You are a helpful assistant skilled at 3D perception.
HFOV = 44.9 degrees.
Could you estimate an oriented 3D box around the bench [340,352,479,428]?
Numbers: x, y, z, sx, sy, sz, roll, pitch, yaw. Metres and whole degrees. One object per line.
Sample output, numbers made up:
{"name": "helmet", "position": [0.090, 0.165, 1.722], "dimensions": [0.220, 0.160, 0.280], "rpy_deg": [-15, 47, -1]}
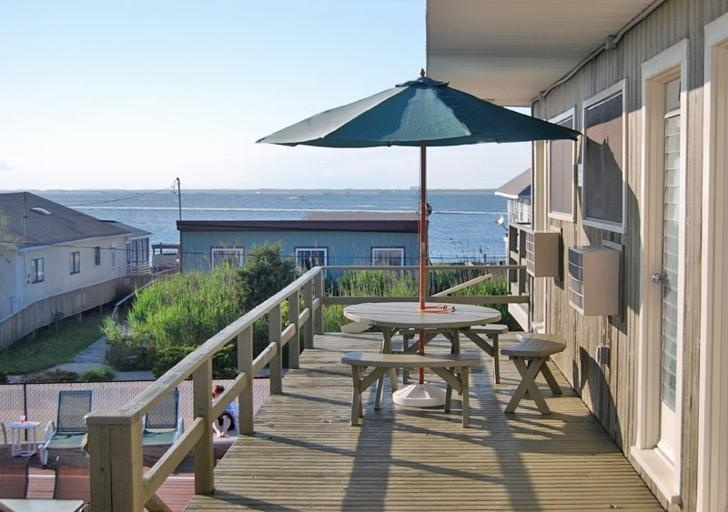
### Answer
{"name": "bench", "position": [0.407, 1.268, 8.292], "dimensions": [1.222, 0.697, 0.620], "rpy_deg": [0, 3, -4]}

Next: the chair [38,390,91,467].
{"name": "chair", "position": [-5.409, 3.299, 16.037], "dimensions": [0.864, 1.136, 1.513], "rpy_deg": [2, 16, -11]}

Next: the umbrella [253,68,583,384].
{"name": "umbrella", "position": [0.476, -0.300, 8.680], "dimensions": [2.276, 2.459, 2.529], "rpy_deg": [-4, 12, 3]}

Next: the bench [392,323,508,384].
{"name": "bench", "position": [0.989, 1.131, 9.974], "dimensions": [1.192, 0.795, 1.350], "rpy_deg": [1, -1, -11]}

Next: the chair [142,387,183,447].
{"name": "chair", "position": [-3.670, 3.078, 15.701], "dimensions": [0.723, 1.230, 1.142], "rpy_deg": [1, -4, -1]}

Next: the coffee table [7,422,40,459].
{"name": "coffee table", "position": [-6.265, 3.355, 16.055], "dimensions": [0.572, 0.733, 0.687], "rpy_deg": [1, 3, 2]}
